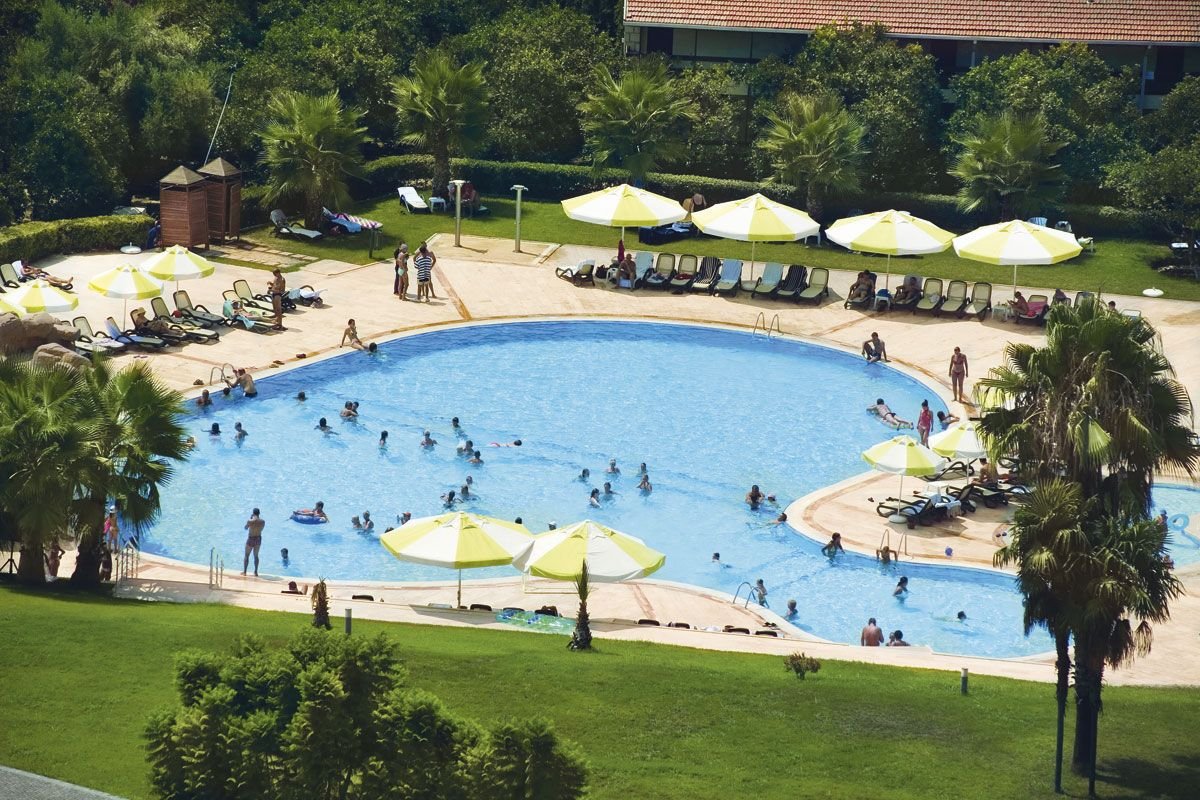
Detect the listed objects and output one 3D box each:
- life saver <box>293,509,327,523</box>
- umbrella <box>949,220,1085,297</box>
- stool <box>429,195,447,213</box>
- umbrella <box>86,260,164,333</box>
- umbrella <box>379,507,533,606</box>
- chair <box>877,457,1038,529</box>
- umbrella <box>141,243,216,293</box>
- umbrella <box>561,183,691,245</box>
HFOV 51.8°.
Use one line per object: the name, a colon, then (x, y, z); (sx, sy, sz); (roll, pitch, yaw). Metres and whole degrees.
life saver: (-7.809, 3.160, 33.264); (0.477, 0.125, 0.454); (10, 10, 18)
umbrella: (15.559, -5.893, 46.670); (4.182, 1.638, 1.738); (3, 2, 11)
stool: (-7.704, -9.363, 59.424); (0.855, 0.818, 0.742); (2, 2, -12)
umbrella: (-16.129, -3.317, 42.319); (2.359, 2.500, 2.484); (6, 30, -8)
umbrella: (-3.244, 3.253, 28.870); (3.265, 1.109, 1.445); (2, 2, -3)
chair: (9.878, 2.685, 34.796); (3.886, 1.148, 2.157); (-15, 23, -26)
umbrella: (-14.613, -4.584, 43.583); (1.837, 0.911, 1.839); (6, 19, 7)
umbrella: (0.969, -7.948, 50.665); (4.488, 1.721, 2.028); (2, 2, 5)
